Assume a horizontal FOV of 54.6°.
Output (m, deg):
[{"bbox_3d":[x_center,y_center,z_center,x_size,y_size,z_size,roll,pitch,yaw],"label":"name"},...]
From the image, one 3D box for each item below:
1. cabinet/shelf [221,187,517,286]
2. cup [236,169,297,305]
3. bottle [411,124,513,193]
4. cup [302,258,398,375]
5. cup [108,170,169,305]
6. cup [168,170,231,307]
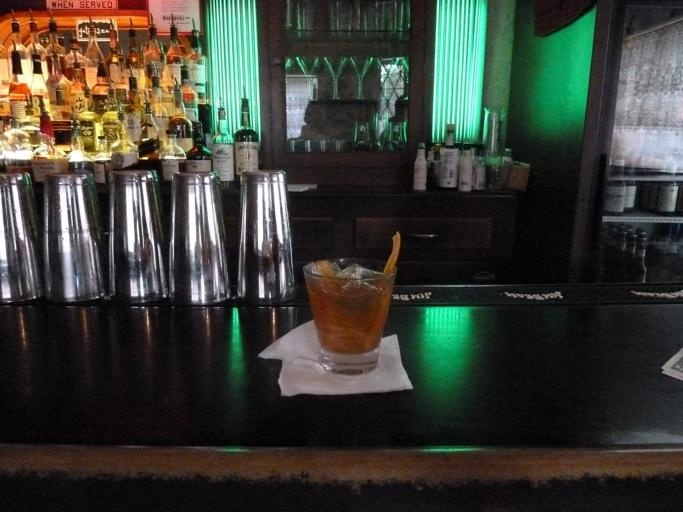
[{"bbox_3d":[0.029,-0.060,2.607,1.181,0.198,0.500,5,31,4],"label":"cabinet/shelf"},{"bbox_3d":[-0.147,-0.037,1.278,0.106,0.249,0.061,-2,14,-6],"label":"cup"},{"bbox_3d":[0.441,-0.361,2.573,0.426,0.226,0.219,-1,13,4],"label":"bottle"},{"bbox_3d":[0.015,0.098,1.054,0.160,0.138,0.148,0,5,0],"label":"cup"},{"bbox_3d":[-0.387,-0.036,1.255,0.106,0.248,0.055,-4,15,-17],"label":"cup"},{"bbox_3d":[-0.273,-0.035,1.262,0.118,0.250,0.079,-3,14,-12],"label":"cup"}]
